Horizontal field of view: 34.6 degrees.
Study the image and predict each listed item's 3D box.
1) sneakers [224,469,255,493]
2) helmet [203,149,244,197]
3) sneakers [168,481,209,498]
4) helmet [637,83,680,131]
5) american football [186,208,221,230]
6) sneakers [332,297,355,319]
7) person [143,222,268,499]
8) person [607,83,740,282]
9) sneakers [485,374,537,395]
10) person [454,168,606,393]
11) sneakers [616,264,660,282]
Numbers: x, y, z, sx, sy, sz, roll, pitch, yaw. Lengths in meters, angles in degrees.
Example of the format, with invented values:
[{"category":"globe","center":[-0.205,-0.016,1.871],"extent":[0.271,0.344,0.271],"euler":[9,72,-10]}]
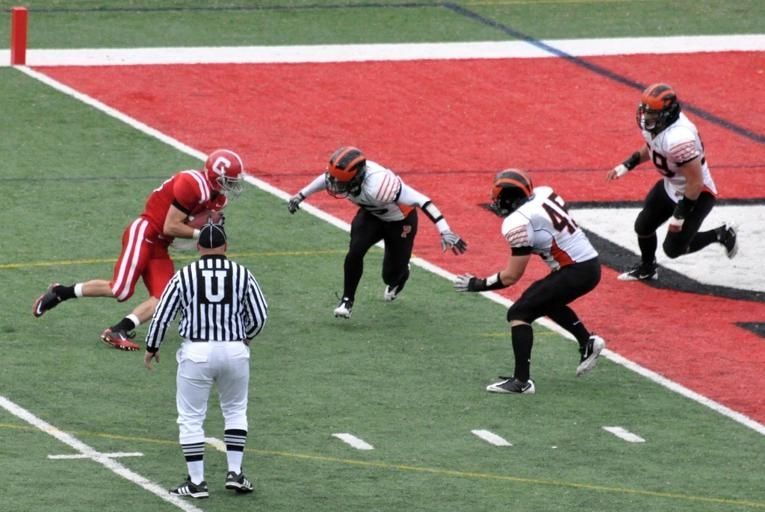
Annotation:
[{"category":"sneakers","center":[-1.228,1.929,10.477],"extent":[0.135,0.120,0.332],"euler":[0,-7,38]},{"category":"helmet","center":[-1.615,-0.837,12.510],"extent":[0.381,0.453,0.239],"euler":[2,13,-14]},{"category":"sneakers","center":[-1.628,1.986,10.498],"extent":[0.397,0.129,0.133],"euler":[3,-6,10]},{"category":"helmet","center":[3.143,-1.667,14.009],"extent":[0.470,0.564,0.287],"euler":[7,13,9]},{"category":"american football","center":[-1.835,-0.397,12.436],"extent":[0.353,0.086,0.183],"euler":[-19,36,7]},{"category":"sneakers","center":[-0.429,0.557,13.246],"extent":[0.198,0.244,0.383],"euler":[5,11,-2]},{"category":"person","center":[-1.504,0.902,10.477],"extent":[0.956,2.300,0.670],"euler":[4,13,-9]},{"category":"person","center":[3.433,-0.823,14.326],"extent":[1.243,2.303,1.026],"euler":[4,13,-10]},{"category":"sneakers","center":[1.256,1.261,12.069],"extent":[0.584,0.161,0.166],"euler":[2,-3,0]},{"category":"person","center":[1.445,0.247,12.122],"extent":[1.041,2.146,0.743],"euler":[-4,17,-39]},{"category":"sneakers","center":[3.009,0.203,14.417],"extent":[0.557,0.173,0.169],"euler":[0,26,-2]}]
